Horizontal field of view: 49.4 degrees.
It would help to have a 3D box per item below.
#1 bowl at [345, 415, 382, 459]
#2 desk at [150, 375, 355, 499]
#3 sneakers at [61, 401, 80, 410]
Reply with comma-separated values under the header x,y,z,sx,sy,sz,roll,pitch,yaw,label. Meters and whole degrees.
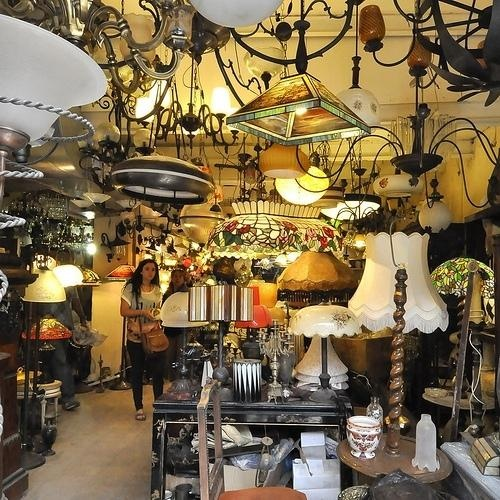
x,y,z,sx,sy,sz,roll,pitch,yaw,label
0.430,0.717,2.086,0.123,0.116,0.132,1,-12,0,bowl
0.015,0.934,2.653,0.803,0.755,0.286,0,-12,-4,desk
-1.936,1.686,5.878,0.159,0.072,0.063,0,-8,18,sneakers
